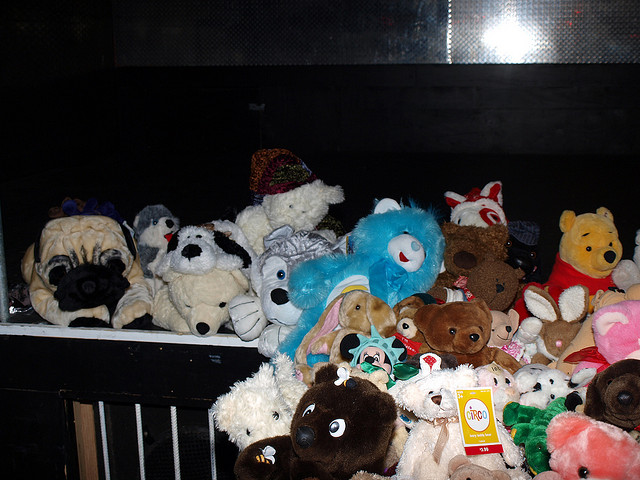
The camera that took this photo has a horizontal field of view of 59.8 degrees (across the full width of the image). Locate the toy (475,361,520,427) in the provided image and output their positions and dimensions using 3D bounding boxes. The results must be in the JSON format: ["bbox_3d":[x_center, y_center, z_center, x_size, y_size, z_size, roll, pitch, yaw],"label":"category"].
[{"bbox_3d":[0.484,0.427,1.521,0.105,0.161,0.139,-20,-10,32],"label":"toy"}]

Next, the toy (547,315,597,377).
[{"bbox_3d":[0.781,0.339,1.834,0.145,0.215,0.169,2,-11,-4],"label":"toy"}]

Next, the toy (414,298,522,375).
[{"bbox_3d":[0.451,0.255,1.767,0.318,0.324,0.215,-5,-12,-9],"label":"toy"}]

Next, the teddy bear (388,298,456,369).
[{"bbox_3d":[0.298,0.295,1.782,0.156,0.223,0.161,3,15,-40],"label":"teddy bear"}]

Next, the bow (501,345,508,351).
[{"bbox_3d":[0.618,0.359,1.857,0.019,0.005,0.019,5,8,38],"label":"bow"}]

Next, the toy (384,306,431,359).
[{"bbox_3d":[0.266,0.284,1.682,0.107,0.111,0.077,28,12,22],"label":"toy"}]

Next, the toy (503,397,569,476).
[{"bbox_3d":[0.565,0.508,1.478,0.149,0.189,0.064,34,-34,5],"label":"toy"}]

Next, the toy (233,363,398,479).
[{"bbox_3d":[-0.013,0.469,1.426,0.201,0.263,0.199,8,29,-42],"label":"toy"}]

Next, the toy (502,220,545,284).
[{"bbox_3d":[0.766,0.044,2.111,0.162,0.222,0.157,13,-41,0],"label":"toy"}]

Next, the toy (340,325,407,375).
[{"bbox_3d":[0.159,0.336,1.606,0.179,0.188,0.090,1,16,11],"label":"toy"}]

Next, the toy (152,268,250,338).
[{"bbox_3d":[-0.396,0.225,1.976,0.329,0.201,0.430,-9,12,-21],"label":"toy"}]

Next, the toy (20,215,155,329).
[{"bbox_3d":[-0.887,0.114,2.118,0.516,0.427,0.315,0,-1,-12],"label":"toy"}]

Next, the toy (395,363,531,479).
[{"bbox_3d":[0.369,0.478,1.452,0.229,0.249,0.167,-26,3,-4],"label":"toy"}]

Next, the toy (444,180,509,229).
[{"bbox_3d":[0.639,-0.120,2.283,0.249,0.214,0.218,4,-16,-36],"label":"toy"}]

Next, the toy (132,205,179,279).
[{"bbox_3d":[-0.689,0.019,2.380,0.225,0.338,0.233,-3,-4,-38],"label":"toy"}]

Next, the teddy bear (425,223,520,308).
[{"bbox_3d":[0.562,0.110,2.020,0.338,0.389,0.277,2,12,30],"label":"teddy bear"}]

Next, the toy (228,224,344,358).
[{"bbox_3d":[-0.100,0.210,1.986,0.334,0.466,0.306,23,11,38],"label":"toy"}]

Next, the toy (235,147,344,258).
[{"bbox_3d":[-0.169,-0.175,2.359,0.442,0.578,0.402,5,19,-15],"label":"toy"}]

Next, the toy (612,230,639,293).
[{"bbox_3d":[1.096,0.108,2.033,0.059,0.150,0.111,-1,-21,23],"label":"toy"}]

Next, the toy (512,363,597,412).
[{"bbox_3d":[0.711,0.432,1.682,0.237,0.130,0.294,-7,2,28],"label":"toy"}]

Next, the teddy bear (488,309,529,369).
[{"bbox_3d":[0.607,0.325,1.798,0.142,0.192,0.144,6,15,39],"label":"teddy bear"}]

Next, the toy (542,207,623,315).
[{"bbox_3d":[0.988,0.099,2.083,0.309,0.399,0.282,-11,15,-18],"label":"toy"}]
